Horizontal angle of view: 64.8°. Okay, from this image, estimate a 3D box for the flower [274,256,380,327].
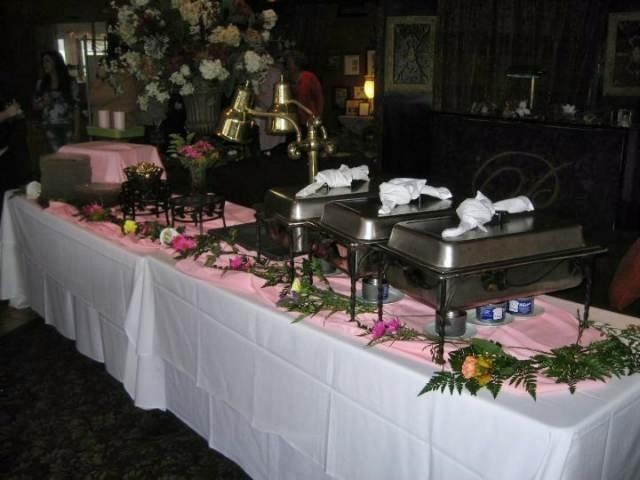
[{"bbox_3d":[-0.021,0.163,1.946,0.265,0.090,0.268,-20,25,-31],"label":"flower"}]

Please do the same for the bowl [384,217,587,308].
[{"bbox_3d":[0.550,0.054,1.746,0.610,0.206,0.422,-10,19,-27],"label":"bowl"}]

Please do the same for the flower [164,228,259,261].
[{"bbox_3d":[-0.566,0.028,2.515,0.250,0.070,0.241,-11,27,-21],"label":"flower"}]

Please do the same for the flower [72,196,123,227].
[{"bbox_3d":[-1.437,-0.186,3.224,0.292,0.103,0.249,12,19,31],"label":"flower"}]

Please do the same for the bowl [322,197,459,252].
[{"bbox_3d":[0.245,-0.081,1.830,0.285,0.074,0.247,-11,20,-27],"label":"bowl"}]

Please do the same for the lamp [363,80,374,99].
[{"bbox_3d":[0.537,-1.650,5.528,0.061,0.204,0.153,-9,18,-28],"label":"lamp"}]

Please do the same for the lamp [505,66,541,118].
[{"bbox_3d":[2.397,-1.752,5.953,0.353,0.526,0.660,7,17,21],"label":"lamp"}]

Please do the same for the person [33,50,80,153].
[{"bbox_3d":[-3.372,-1.760,6.434,0.535,1.235,0.318,-5,17,-17],"label":"person"}]

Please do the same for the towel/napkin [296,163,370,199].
[{"bbox_3d":[0.057,-0.227,2.256,0.352,0.092,0.145,-16,43,-23],"label":"towel/napkin"}]

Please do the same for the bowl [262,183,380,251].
[{"bbox_3d":[0.011,-0.130,2.246,0.516,0.171,0.441,-18,22,-36],"label":"bowl"}]

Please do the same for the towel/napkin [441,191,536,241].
[{"bbox_3d":[0.566,-0.093,1.680,0.300,0.107,0.169,-10,34,-17],"label":"towel/napkin"}]

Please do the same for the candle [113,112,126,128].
[{"bbox_3d":[-1.824,-1.082,4.582,0.095,0.153,0.095,-8,18,-28],"label":"candle"}]

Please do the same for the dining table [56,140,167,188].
[{"bbox_3d":[-1.702,-0.683,4.144,0.703,0.279,0.697,19,24,41],"label":"dining table"}]
